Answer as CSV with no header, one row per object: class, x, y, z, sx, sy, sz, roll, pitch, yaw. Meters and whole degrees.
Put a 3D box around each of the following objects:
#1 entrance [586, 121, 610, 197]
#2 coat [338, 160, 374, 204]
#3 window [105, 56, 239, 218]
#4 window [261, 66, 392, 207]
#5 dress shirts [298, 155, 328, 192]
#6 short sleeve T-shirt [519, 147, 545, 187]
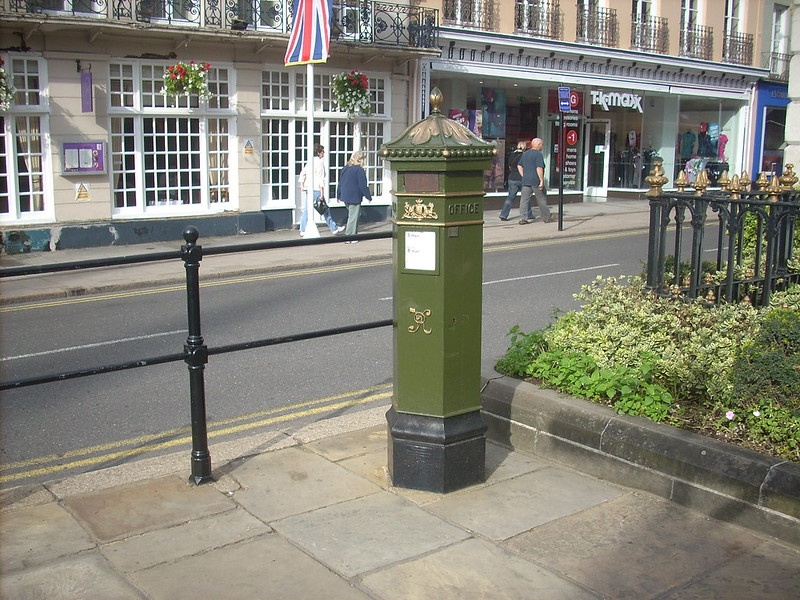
entrance,7.395,-5.367,30.786,0.889,2.867,0.172,2,3,2
coat,-1.063,-2.657,18.334,0.773,0.891,0.454,10,18,22
window,-5.482,-3.940,19.103,3.303,4.153,0.291,-6,9,-38
window,-2.023,-4.254,20.578,4.530,4.906,0.402,-8,14,-34
dress shirts,-2.061,-3.030,19.482,0.369,0.960,0.873,-17,31,-35
short sleeve T-shirt,3.506,-3.590,21.842,0.960,1.260,0.497,1,-5,8
